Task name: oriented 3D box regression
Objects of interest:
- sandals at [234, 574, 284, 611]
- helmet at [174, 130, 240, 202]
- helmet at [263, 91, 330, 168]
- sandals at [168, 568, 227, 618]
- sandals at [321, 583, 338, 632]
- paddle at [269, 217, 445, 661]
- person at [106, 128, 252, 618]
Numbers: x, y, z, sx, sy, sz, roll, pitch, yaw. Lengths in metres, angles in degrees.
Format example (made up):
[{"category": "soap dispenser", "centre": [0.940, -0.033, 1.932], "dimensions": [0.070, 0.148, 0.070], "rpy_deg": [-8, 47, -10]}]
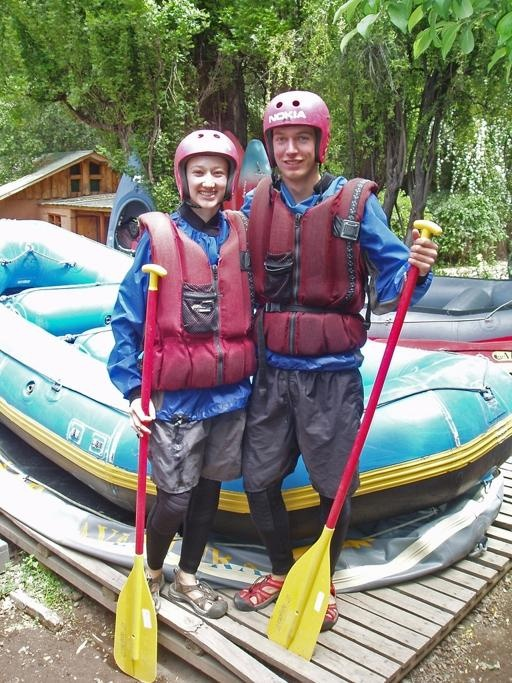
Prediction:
[{"category": "sandals", "centre": [0.019, 0.913, 2.204], "dimensions": [0.186, 0.066, 0.093], "rpy_deg": [-17, 22, -38]}, {"category": "helmet", "centre": [-0.160, -0.581, 1.962], "dimensions": [0.205, 0.222, 0.247], "rpy_deg": [1, -5, -8]}, {"category": "helmet", "centre": [0.133, -0.676, 1.925], "dimensions": [0.192, 0.201, 0.235], "rpy_deg": [-1, 9, 11]}, {"category": "sandals", "centre": [-0.203, 0.906, 2.156], "dimensions": [0.217, 0.099, 0.116], "rpy_deg": [25, 12, 15]}, {"category": "sandals", "centre": [0.271, 0.959, 2.142], "dimensions": [0.059, 0.041, 0.155], "rpy_deg": [0, 10, 6]}, {"category": "paddle", "centre": [0.247, 0.404, 1.816], "dimensions": [0.227, 0.941, 0.323], "rpy_deg": [8, 5, -4]}, {"category": "person", "centre": [-0.220, 0.144, 1.975], "dimensions": [0.531, 1.640, 0.289], "rpy_deg": [6, 6, -28]}]
